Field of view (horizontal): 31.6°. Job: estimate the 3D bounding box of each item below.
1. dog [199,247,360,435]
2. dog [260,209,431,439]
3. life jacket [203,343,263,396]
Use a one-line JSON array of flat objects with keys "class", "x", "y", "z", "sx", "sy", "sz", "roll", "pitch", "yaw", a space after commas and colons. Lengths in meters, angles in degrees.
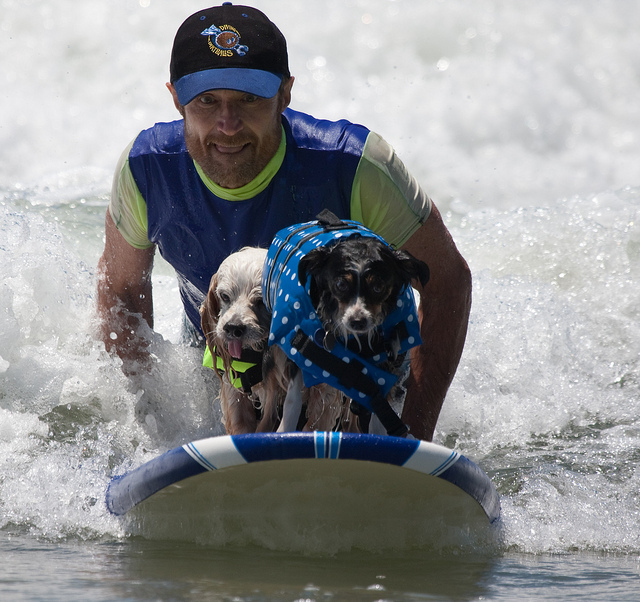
[{"class": "dog", "x": -0.208, "y": 0.292, "z": 6.400, "sx": 0.623, "sy": 1.171, "sz": 1.888, "roll": 0, "pitch": 1, "yaw": 13}, {"class": "dog", "x": 0.074, "y": 0.154, "z": 5.706, "sx": 0.757, "sy": 0.990, "sz": 1.379, "roll": 5, "pitch": 5, "yaw": -8}, {"class": "life jacket", "x": -0.418, "y": 0.351, "z": 5.835, "sx": 0.277, "sy": 0.289, "sz": 0.225, "roll": -8, "pitch": 11, "yaw": 16}]
